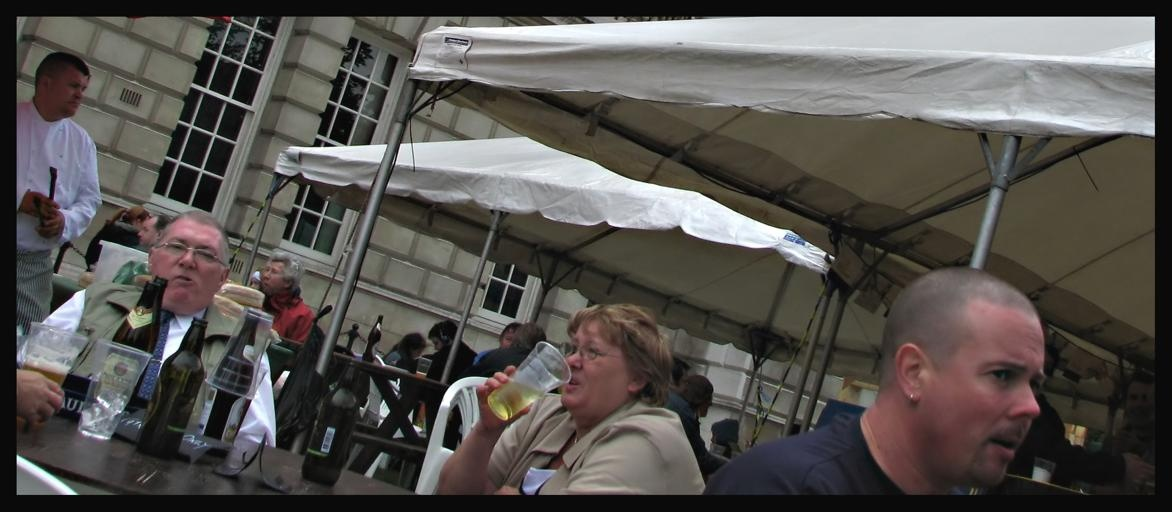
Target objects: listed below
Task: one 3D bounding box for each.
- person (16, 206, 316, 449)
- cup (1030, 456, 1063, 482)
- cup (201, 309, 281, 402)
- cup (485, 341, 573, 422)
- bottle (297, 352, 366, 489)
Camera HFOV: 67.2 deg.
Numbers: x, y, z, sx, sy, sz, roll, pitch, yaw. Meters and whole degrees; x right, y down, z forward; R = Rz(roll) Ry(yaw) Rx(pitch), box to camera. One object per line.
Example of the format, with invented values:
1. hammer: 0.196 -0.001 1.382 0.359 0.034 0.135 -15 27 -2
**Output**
1. person: -2.891 0.504 5.991 1.657 1.704 0.972 14 -33 -8
2. cup: 3.436 1.603 6.612 0.171 0.169 0.124 36 -33 4
3. cup: -2.042 0.574 5.253 0.282 0.506 0.338 18 -24 -9
4. cup: -0.365 0.844 5.812 0.367 0.583 0.354 56 -3 5
5. bottle: -1.491 1.003 5.282 0.267 0.776 0.394 20 -25 -11
